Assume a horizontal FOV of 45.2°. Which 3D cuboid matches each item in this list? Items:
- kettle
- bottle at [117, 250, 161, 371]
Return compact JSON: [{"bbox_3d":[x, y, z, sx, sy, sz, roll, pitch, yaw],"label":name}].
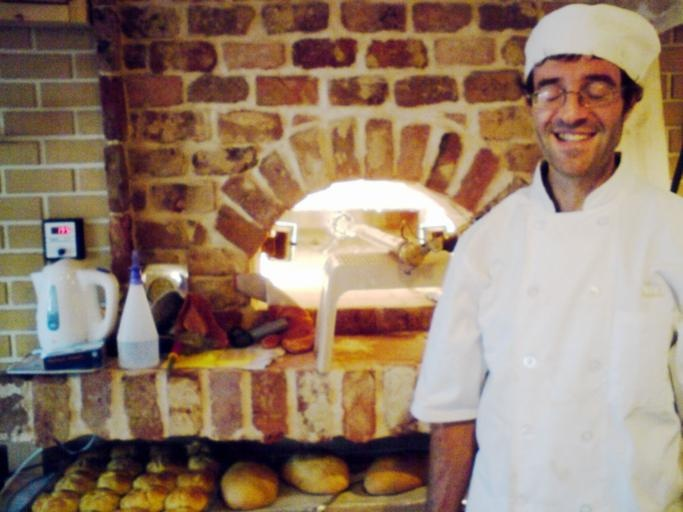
[{"bbox_3d":[-0.887,0.167,2.716,0.335,0.377,0.210,0,1,-13],"label":"kettle"},{"bbox_3d":[-0.675,0.185,2.750,0.145,0.387,0.148,1,-5,0],"label":"bottle"}]
